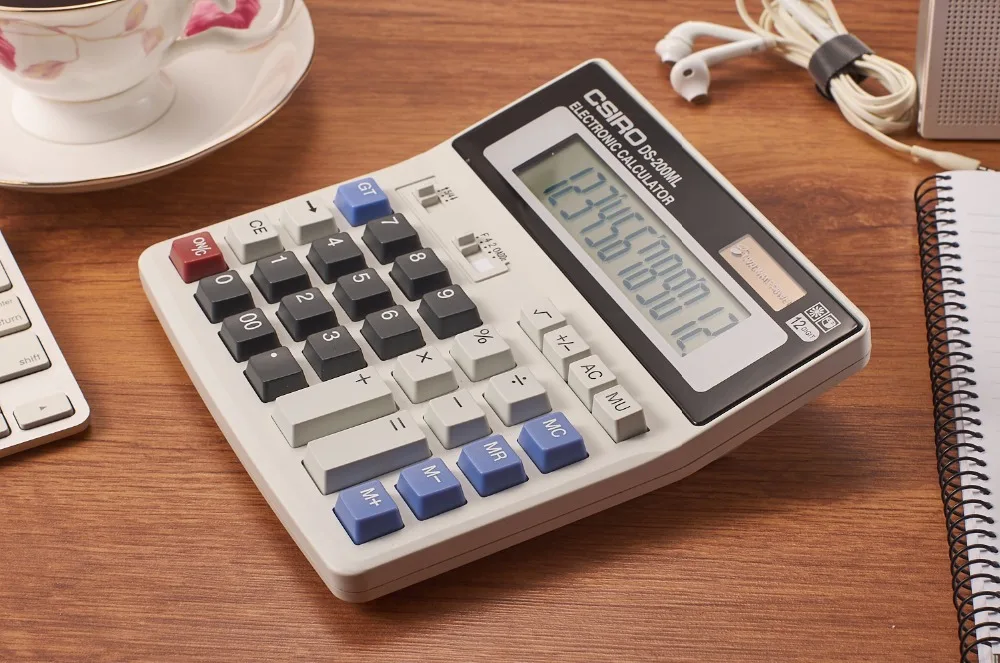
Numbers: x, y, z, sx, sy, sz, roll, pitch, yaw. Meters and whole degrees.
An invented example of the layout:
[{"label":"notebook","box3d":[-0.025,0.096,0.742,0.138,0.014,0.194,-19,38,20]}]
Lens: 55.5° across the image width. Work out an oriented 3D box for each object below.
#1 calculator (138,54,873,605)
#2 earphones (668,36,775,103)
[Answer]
[{"label":"calculator","box3d":[-0.007,-0.031,0.740,0.527,0.144,0.401,-30,80,-6]},{"label":"earphones","box3d":[0.227,-0.261,0.985,0.126,0.032,0.066,-18,45,-7]}]
